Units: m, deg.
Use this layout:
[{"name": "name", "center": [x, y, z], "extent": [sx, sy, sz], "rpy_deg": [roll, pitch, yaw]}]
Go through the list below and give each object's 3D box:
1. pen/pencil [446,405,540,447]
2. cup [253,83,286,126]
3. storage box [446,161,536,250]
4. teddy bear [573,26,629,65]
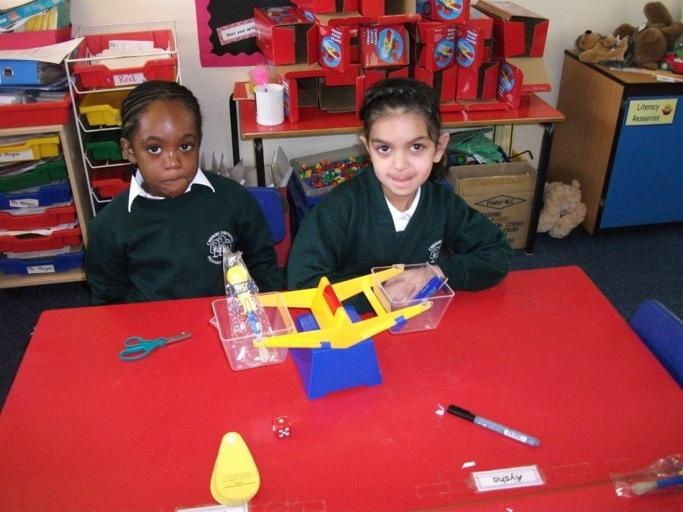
[{"name": "pen/pencil", "center": [0.294, 0.334, 0.989], "extent": [0.128, 0.023, 0.015], "rpy_deg": [20, -4, 14]}, {"name": "cup", "center": [-0.311, -0.682, 2.382], "extent": [0.171, 0.185, 0.167], "rpy_deg": [2, 38, -2]}, {"name": "storage box", "center": [0.676, -0.258, 2.295], "extent": [0.418, 0.425, 0.238], "rpy_deg": [-2, 36, -3]}, {"name": "teddy bear", "center": [1.462, -1.167, 2.872], "extent": [0.241, 0.107, 0.212], "rpy_deg": [16, 54, 28]}]
